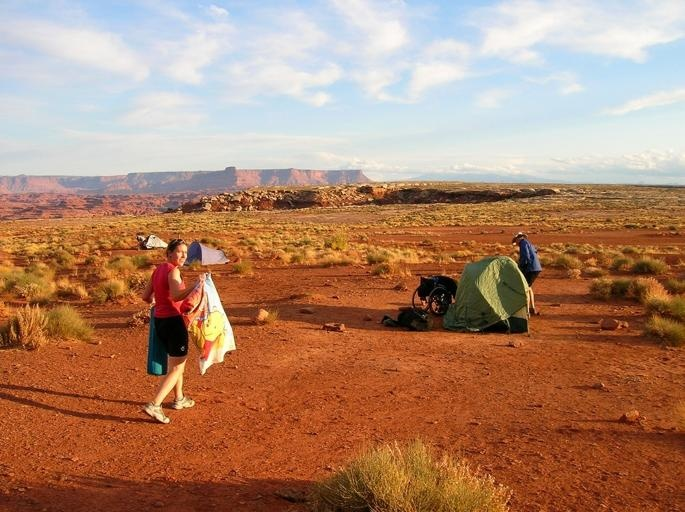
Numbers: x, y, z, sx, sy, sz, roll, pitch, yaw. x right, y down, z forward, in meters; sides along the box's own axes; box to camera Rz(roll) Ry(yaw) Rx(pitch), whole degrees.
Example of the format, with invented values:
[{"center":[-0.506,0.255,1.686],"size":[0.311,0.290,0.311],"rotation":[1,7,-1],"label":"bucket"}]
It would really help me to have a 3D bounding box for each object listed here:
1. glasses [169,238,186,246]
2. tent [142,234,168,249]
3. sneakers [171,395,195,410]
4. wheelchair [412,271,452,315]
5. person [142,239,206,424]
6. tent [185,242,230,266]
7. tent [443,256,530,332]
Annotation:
[{"center":[-2.310,-0.189,6.530],"size":[0.225,0.071,0.181],"rotation":[-8,5,-16],"label":"glasses"},{"center":[-12.492,-0.984,31.359],"size":[2.534,0.807,2.731],"rotation":[0,5,-26],"label":"tent"},{"center":[-2.402,2.217,7.165],"size":[0.156,0.131,0.375],"rotation":[1,-1,39],"label":"sneakers"},{"center":[2.584,1.068,13.458],"size":[1.591,1.024,0.961],"rotation":[3,1,-1],"label":"wheelchair"},{"center":[-2.388,1.063,6.635],"size":[0.797,2.586,0.594],"rotation":[-1,13,-14],"label":"person"},{"center":[-6.768,-0.054,22.807],"size":[2.046,0.663,1.783],"rotation":[4,6,22],"label":"tent"},{"center":[3.688,1.067,12.183],"size":[2.870,1.327,1.685],"rotation":[-4,1,-14],"label":"tent"}]
